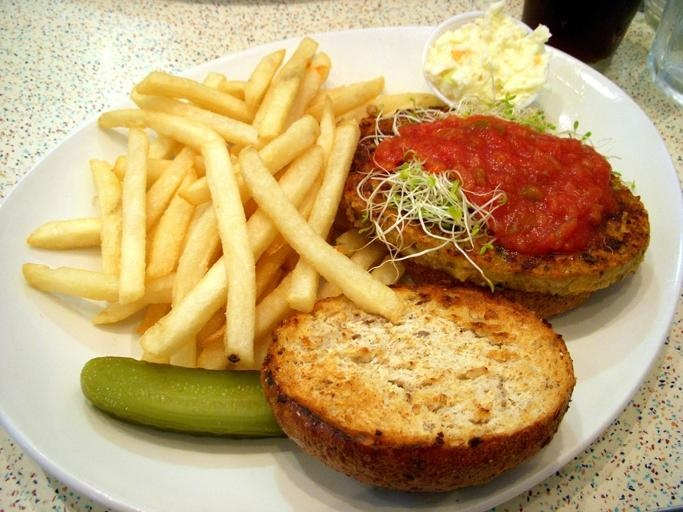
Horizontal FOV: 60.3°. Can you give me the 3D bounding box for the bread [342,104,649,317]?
[{"bbox_3d":[0.768,-0.253,2.974,1.525,0.492,0.861,20,70,11],"label":"bread"}]
